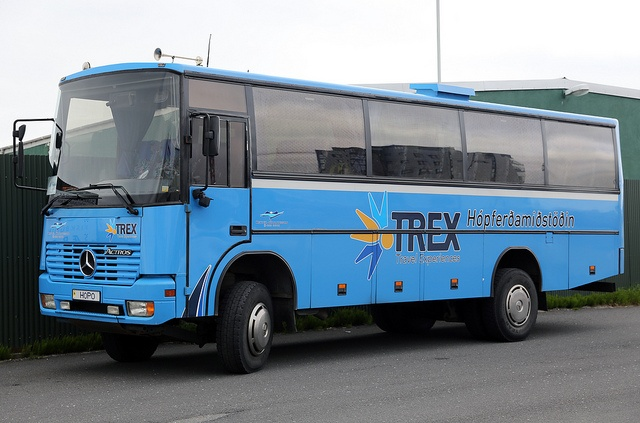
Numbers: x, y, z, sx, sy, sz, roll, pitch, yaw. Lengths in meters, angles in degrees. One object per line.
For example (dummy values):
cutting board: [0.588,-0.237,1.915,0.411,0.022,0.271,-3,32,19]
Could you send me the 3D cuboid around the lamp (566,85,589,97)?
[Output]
lamp: [12.598,-5.837,25.540,0.811,0.334,0.837,1,-5,-12]
